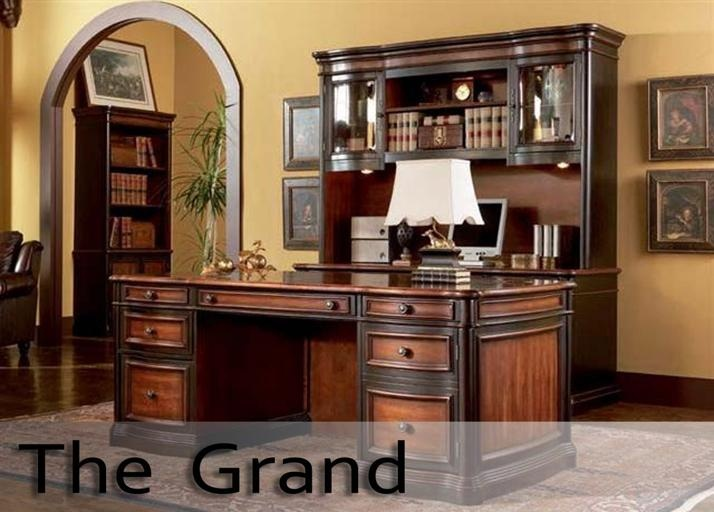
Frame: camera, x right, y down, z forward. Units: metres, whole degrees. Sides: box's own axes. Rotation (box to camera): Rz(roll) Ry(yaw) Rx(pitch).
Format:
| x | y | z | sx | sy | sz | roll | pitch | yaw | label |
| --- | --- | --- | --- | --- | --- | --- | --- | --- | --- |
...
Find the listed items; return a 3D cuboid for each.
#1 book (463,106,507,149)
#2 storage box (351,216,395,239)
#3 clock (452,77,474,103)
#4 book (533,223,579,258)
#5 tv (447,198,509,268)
| x | y | z | sx | sy | sz | roll | pitch | yaw | label |
| --- | --- | --- | --- | --- | --- | --- | --- | --- | --- |
| 1.003 | -0.976 | 4.794 | 0.402 | 0.372 | 0.293 | 0 | 1 | 20 | book |
| 0.096 | -0.239 | 5.092 | 0.346 | 0.211 | 0.187 | 1 | 1 | 32 | storage box |
| 0.850 | -1.351 | 4.893 | 0.191 | 0.183 | 0.046 | 1 | -4 | 35 | clock |
| 1.430 | -0.111 | 4.408 | 0.291 | 0.206 | 0.217 | 2 | 5 | 15 | book |
| 0.823 | -0.151 | 4.120 | 0.526 | 0.501 | 0.304 | -1 | -2 | 38 | tv |
